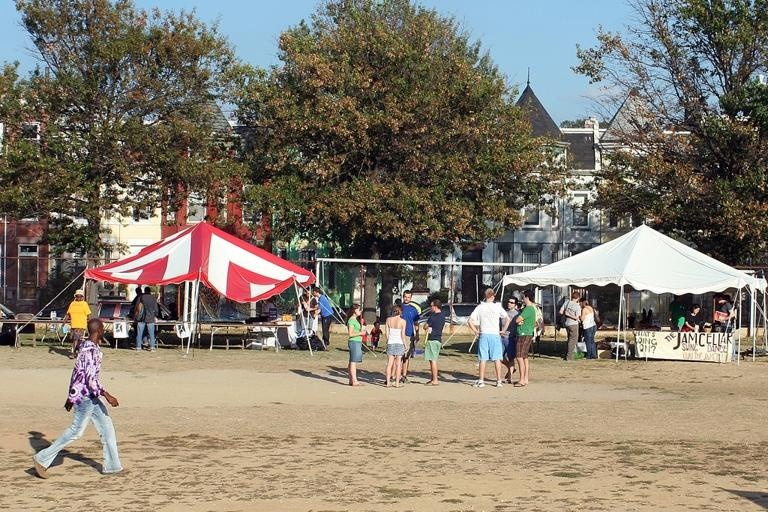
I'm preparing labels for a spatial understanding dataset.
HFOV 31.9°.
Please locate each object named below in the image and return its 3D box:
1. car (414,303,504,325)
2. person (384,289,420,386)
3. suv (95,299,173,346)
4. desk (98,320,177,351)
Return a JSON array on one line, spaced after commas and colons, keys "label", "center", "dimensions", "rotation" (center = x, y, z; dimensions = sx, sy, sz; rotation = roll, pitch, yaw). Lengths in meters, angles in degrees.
[{"label": "car", "center": [2.746, 2.061, 47.932], "dimensions": [3.613, 1.120, 1.487], "rotation": [1, -5, 1]}, {"label": "person", "center": [0.429, 2.611, 41.719], "dimensions": [0.929, 2.798, 1.168], "rotation": [0, 0, 24]}, {"label": "suv", "center": [-9.586, 2.509, 50.974], "dimensions": [2.989, 1.617, 1.672], "rotation": [-1, -1, 9]}, {"label": "desk", "center": [-9.033, 3.030, 50.620], "dimensions": [1.799, 1.636, 1.752], "rotation": [10, -14, -39]}]
